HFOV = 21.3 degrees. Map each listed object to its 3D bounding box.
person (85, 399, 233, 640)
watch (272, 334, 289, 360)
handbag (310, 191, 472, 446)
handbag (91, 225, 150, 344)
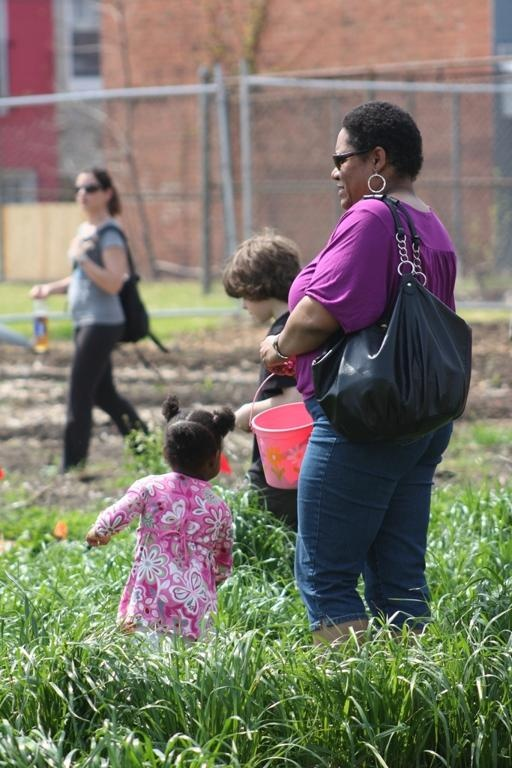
[{"bbox_3d":[-0.275,0.470,4.540,0.524,0.755,0.344,-4,5,-41],"label":"person"},{"bbox_3d":[0.084,-0.112,4.380,0.023,0.059,0.068,-23,-29,-6],"label":"watch"},{"bbox_3d":[0.413,-0.196,4.153,0.496,0.756,0.302,-1,4,2],"label":"handbag"},{"bbox_3d":[-0.629,-0.464,6.399,0.198,0.553,0.388,-1,4,7],"label":"handbag"}]
